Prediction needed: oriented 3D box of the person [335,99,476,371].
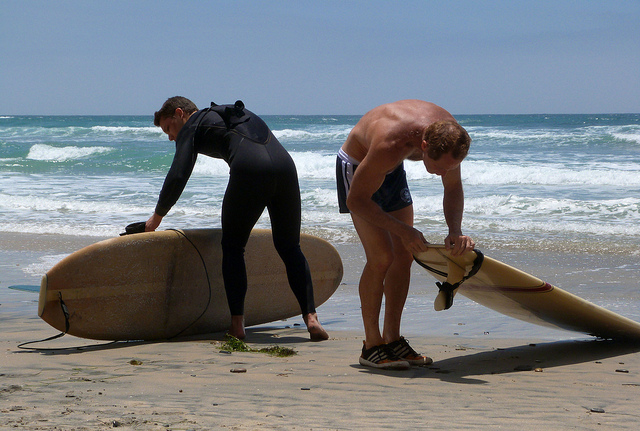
[{"bbox_3d":[0.705,0.162,8.769,1.133,2.310,0.654,1,14,0],"label":"person"}]
